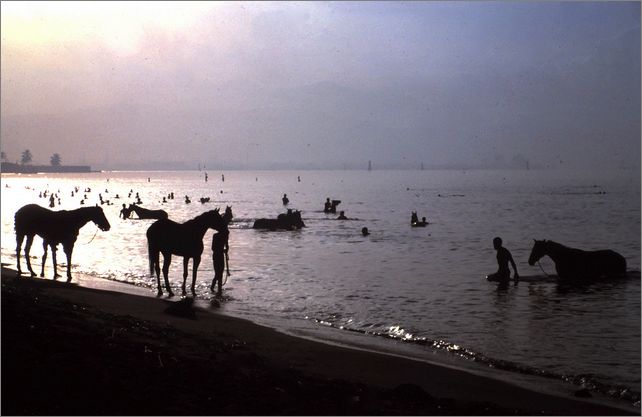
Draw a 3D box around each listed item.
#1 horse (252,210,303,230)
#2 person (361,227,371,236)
[{"bbox_3d":[-2.799,0.830,50.163,3.286,1.382,2.095,6,10,-4],"label":"horse"},{"bbox_3d":[2.827,1.521,47.637,0.430,0.665,0.254,-5,17,-24],"label":"person"}]
